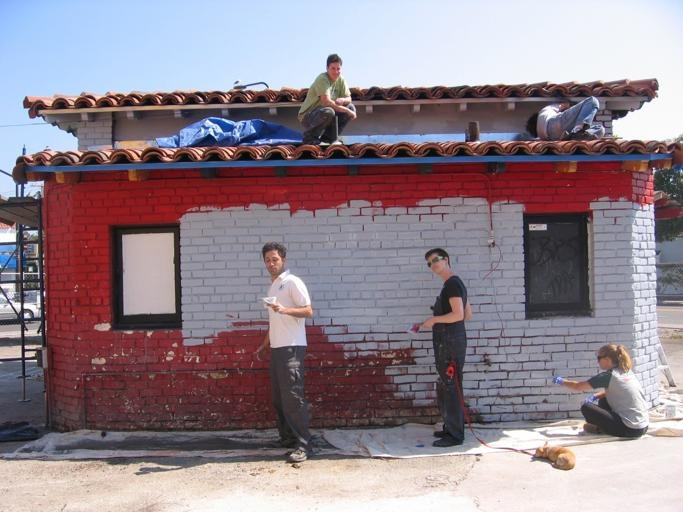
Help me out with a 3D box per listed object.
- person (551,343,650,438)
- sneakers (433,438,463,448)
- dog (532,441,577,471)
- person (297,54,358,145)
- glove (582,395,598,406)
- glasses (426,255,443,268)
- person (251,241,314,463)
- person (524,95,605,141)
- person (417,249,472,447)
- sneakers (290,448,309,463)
[{"bbox_3d":[3.533,1.840,14.368,1.490,1.140,0.930,-1,-2,22],"label":"person"},{"bbox_3d":[1.396,2.466,13.918,0.408,0.129,0.132,3,-7,-5],"label":"sneakers"},{"bbox_3d":[2.728,2.565,13.424,0.262,0.157,0.441,3,-2,-36],"label":"dog"},{"bbox_3d":[-0.227,-2.243,15.357,0.799,1.270,0.565,-4,-4,-1],"label":"person"},{"bbox_3d":[3.400,1.962,14.339,0.212,0.117,0.091,28,13,37],"label":"glove"},{"bbox_3d":[1.246,0.063,14.076,0.166,0.042,0.157,10,-22,-30],"label":"glasses"},{"bbox_3d":[-0.682,1.246,13.835,0.611,2.856,0.680,-4,-4,-12],"label":"person"},{"bbox_3d":[3.319,-2.020,15.699,0.780,0.691,1.182,-3,-3,-18],"label":"person"},{"bbox_3d":[1.389,1.199,14.091,0.745,2.642,0.705,-4,-4,-6],"label":"person"},{"bbox_3d":[-0.533,2.572,13.623,0.301,0.196,0.131,-1,-5,-42],"label":"sneakers"}]
